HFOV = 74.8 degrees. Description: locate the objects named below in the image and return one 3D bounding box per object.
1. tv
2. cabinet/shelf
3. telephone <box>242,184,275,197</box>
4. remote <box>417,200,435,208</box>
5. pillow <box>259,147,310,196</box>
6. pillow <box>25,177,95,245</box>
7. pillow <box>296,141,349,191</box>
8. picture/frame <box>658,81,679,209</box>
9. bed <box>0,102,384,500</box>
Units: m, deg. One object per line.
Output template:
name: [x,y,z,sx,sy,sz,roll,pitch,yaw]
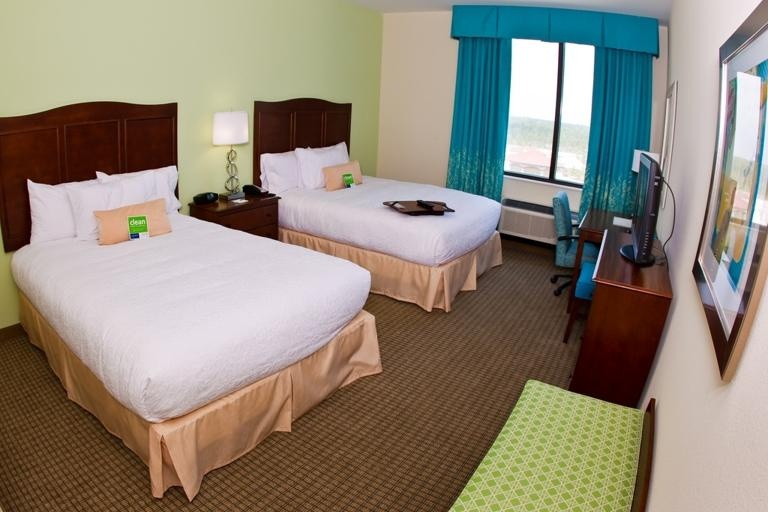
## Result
tv: [2.331,-0.422,4.537,0.250,0.888,1.005,6,18,22]
cabinet/shelf: [1.993,0.569,4.189,0.399,1.075,1.171,14,24,25]
telephone: [-1.645,-0.861,6.392,0.261,0.102,0.201,9,16,29]
remote: [0.494,-0.630,6.112,0.087,0.056,0.192,-12,20,-22]
pillow: [-1.393,-1.117,6.754,0.166,0.582,0.580,-5,3,44]
pillow: [-3.044,-0.385,4.695,0.177,0.447,0.522,10,16,35]
pillow: [-0.891,-1.214,7.006,0.676,0.512,0.171,-22,7,-39]
picture/frame: [3.062,-1.360,5.402,0.079,0.978,1.147,8,19,25]
bed: [-1.909,0.017,4.472,2.898,2.614,1.931,14,22,37]
